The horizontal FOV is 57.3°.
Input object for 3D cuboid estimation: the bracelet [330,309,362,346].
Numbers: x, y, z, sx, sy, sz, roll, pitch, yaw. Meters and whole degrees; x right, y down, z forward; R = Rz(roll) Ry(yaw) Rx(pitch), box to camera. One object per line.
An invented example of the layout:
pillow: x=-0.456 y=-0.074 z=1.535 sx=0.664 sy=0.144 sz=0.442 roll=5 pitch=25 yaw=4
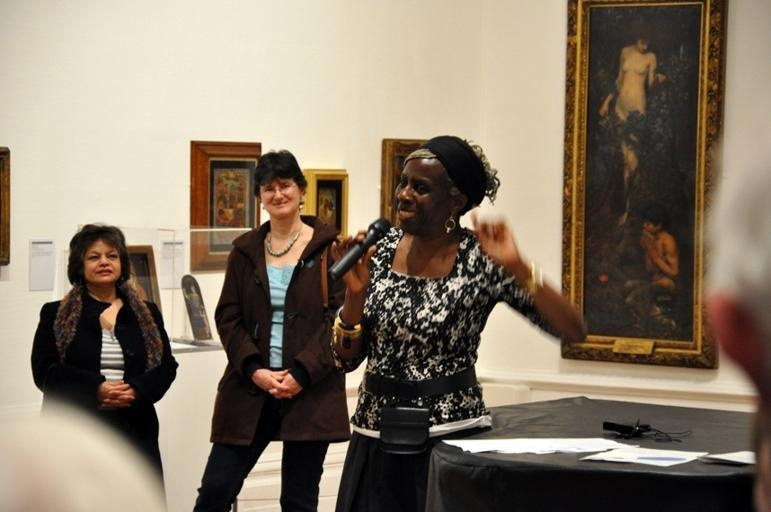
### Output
bracelet: x=-0.180 y=0.337 z=3.288 sx=0.147 sy=0.119 sz=0.141 roll=5 pitch=-1 yaw=-4

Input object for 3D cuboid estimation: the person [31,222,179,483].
person: x=-1.648 y=0.519 z=4.175 sx=0.758 sy=1.323 sz=0.449 roll=-1 pitch=7 yaw=-25

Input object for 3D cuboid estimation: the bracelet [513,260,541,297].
bracelet: x=0.647 y=0.098 z=3.067 sx=0.083 sy=0.144 sz=0.050 roll=3 pitch=6 yaw=11

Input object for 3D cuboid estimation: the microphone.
microphone: x=-0.102 y=-0.035 z=3.126 sx=0.157 sy=0.259 sz=0.462 roll=5 pitch=7 yaw=23

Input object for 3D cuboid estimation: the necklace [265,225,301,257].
necklace: x=-0.644 y=-0.087 z=4.457 sx=0.147 sy=0.192 sz=0.050 roll=41 pitch=-5 yaw=20
